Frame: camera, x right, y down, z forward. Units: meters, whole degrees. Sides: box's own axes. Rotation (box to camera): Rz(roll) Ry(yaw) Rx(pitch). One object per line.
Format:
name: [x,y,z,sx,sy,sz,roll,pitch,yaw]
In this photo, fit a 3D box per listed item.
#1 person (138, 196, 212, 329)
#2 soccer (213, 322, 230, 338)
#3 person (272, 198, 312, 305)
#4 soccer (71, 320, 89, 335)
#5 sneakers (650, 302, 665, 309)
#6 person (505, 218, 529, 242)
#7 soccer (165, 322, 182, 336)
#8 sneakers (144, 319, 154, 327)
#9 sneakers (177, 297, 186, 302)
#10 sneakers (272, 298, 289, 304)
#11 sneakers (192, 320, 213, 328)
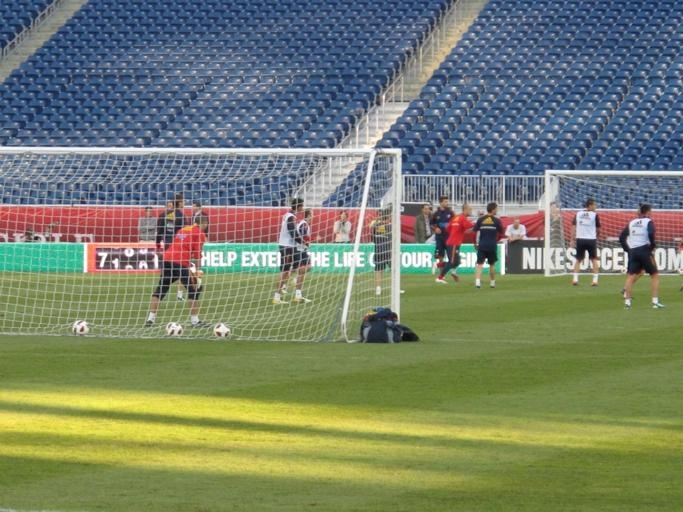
person: [-3.256,0.281,30.919,1.133,2.235,0.689,0,13,-6]
soccer: [-2.346,1.491,30.038,0.304,0.254,0.263,-12,-34,-9]
person: [-1.226,-0.053,34.679,0.641,2.431,1.126,0,13,-2]
soccer: [-5.111,1.412,30.343,0.304,0.276,0.305,12,7,-11]
sneakers: [6.769,1.090,33.585,0.376,0.202,0.118,-1,6,-6]
person: [4.756,-0.662,42.873,0.870,0.855,0.664,-1,-3,3]
soccer: [-3.271,1.451,30.233,0.255,0.201,0.288,2,-3,-9]
sneakers: [-3.847,1.347,30.860,0.179,0.141,0.096,1,11,-4]
sneakers: [-3.610,0.985,34.599,0.160,0.079,0.142,0,-9,5]
sneakers: [-1.401,1.035,34.597,0.363,0.204,0.135,-2,14,-7]
sneakers: [-2.824,1.380,30.965,0.479,0.162,0.148,-3,0,15]
